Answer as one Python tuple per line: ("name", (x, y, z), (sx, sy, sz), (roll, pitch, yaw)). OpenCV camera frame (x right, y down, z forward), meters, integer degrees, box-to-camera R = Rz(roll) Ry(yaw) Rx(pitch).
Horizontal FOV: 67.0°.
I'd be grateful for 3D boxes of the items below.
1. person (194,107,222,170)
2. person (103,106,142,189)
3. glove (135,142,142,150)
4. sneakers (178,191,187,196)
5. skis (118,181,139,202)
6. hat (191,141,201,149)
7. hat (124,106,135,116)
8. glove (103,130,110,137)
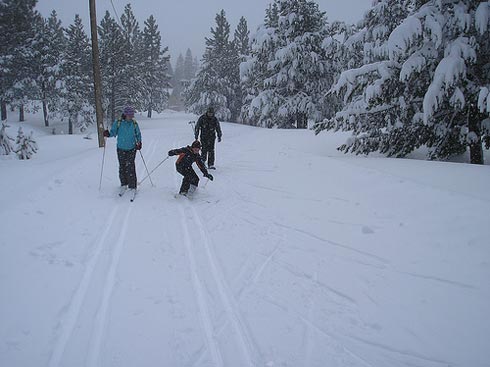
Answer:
("person", (-1.186, -1.477, 12.172), (0.807, 2.322, 0.595), (-1, 33, -8))
("person", (-3.157, -0.946, 9.915), (0.724, 2.184, 0.445), (-2, 9, -18))
("glove", (-2.851, -1.010, 9.950), (0.131, 0.201, 0.153), (4, -29, -7))
("sneakers", (-1.665, 0.273, 9.966), (0.231, 0.119, 0.113), (-1, 10, -12))
("skis", (-3.163, 0.248, 9.799), (0.223, 0.046, 0.899), (-1, 26, 1))
("hat", (-1.337, -1.065, 10.125), (0.256, 0.201, 0.433), (-1, 11, -11))
("hat", (-3.032, -1.918, 9.723), (0.246, 0.267, 0.214), (-7, 37, -18))
("glove", (-3.632, -1.319, 9.747), (0.166, 0.172, 0.431), (-3, 11, -21))
